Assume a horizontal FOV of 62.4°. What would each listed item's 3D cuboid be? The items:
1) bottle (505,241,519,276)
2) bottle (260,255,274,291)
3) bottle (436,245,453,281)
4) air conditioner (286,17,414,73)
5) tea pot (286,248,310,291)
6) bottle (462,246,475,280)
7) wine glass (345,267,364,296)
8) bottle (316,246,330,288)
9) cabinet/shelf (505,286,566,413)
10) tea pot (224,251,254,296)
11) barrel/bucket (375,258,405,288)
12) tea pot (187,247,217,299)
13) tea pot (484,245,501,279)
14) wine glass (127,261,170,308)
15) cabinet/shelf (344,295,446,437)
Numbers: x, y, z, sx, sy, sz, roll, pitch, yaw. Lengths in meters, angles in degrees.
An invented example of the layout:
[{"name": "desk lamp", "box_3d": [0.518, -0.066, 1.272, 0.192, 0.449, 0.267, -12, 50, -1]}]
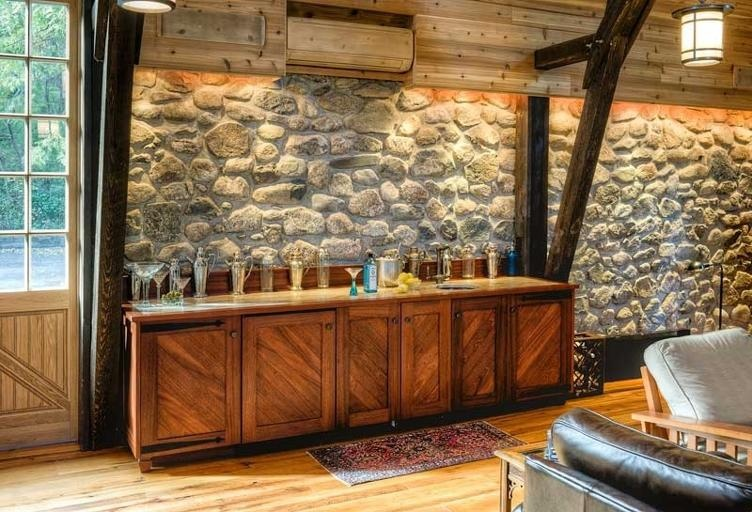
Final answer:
[{"name": "bottle", "box_3d": [1.345, 0.041, 6.112, 0.117, 0.300, 0.167, 1, 15, 1]}, {"name": "bottle", "box_3d": [-0.922, 0.153, 5.263, 0.120, 0.278, 0.196, -2, 15, -9]}, {"name": "bottle", "box_3d": [0.631, 0.072, 5.795, 0.149, 0.318, 0.325, 3, 15, 6]}, {"name": "air conditioner", "box_3d": [-0.294, -1.833, 5.364, 1.234, 0.396, 0.365, -8, 23, -35]}, {"name": "tea pot", "box_3d": [-0.665, 0.120, 5.325, 0.196, 0.334, 0.262, -2, 15, -11]}, {"name": "bottle", "box_3d": [0.880, 0.075, 5.913, 0.110, 0.277, 0.176, 2, 15, 4]}, {"name": "wine glass", "box_3d": [-0.179, 0.222, 5.270, 0.229, 0.230, 0.216, 0, -1, -26]}, {"name": "bottle", "box_3d": [-0.461, 0.110, 5.431, 0.112, 0.324, 0.200, -1, 15, -5]}, {"name": "cabinet/shelf", "box_3d": [1.454, 0.798, 5.519, 0.681, 0.922, 0.207, -6, 17, -23]}, {"name": "tea pot", "box_3d": [-1.120, 0.146, 5.142, 0.226, 0.332, 0.274, -3, 15, -13]}, {"name": "barrel/bucket", "box_3d": [0.075, 0.159, 5.480, 0.276, 0.231, 0.256, 0, 2, 0]}, {"name": "tea pot", "box_3d": [-1.418, 0.139, 5.054, 0.184, 0.373, 0.282, 0, 15, -3]}, {"name": "tea pot", "box_3d": [1.129, 0.063, 6.011, 0.156, 0.290, 0.270, 4, 15, 12]}, {"name": "wine glass", "box_3d": [-1.769, 0.201, 4.817, 0.287, 0.339, 0.427, -5, 15, -21]}, {"name": "cabinet/shelf", "box_3d": [0.122, 0.878, 5.043, 1.333, 1.045, 0.525, 0, -3, -24]}]
